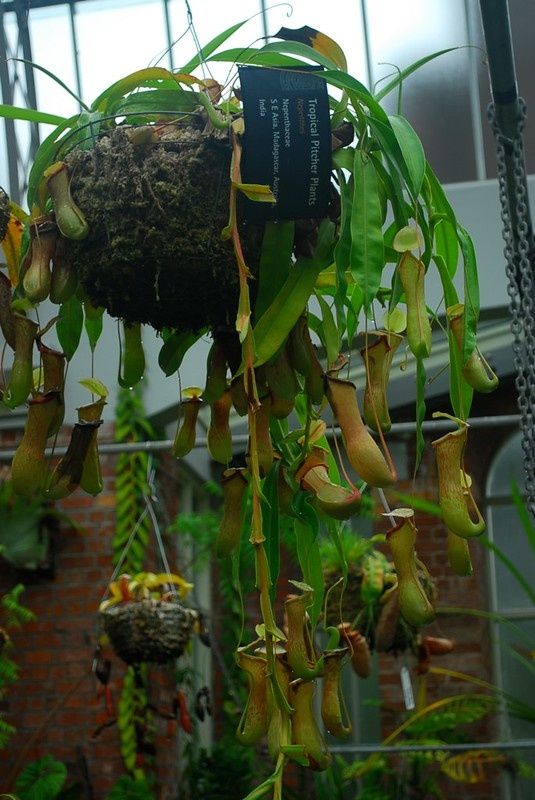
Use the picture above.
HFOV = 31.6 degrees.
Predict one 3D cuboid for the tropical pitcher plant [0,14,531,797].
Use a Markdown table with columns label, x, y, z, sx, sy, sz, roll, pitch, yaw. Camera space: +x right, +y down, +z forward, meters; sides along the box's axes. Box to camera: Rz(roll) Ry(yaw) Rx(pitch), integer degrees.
| label | x | y | z | sx | sy | sz | roll | pitch | yaw |
| --- | --- | --- | --- | --- | --- | --- | --- | --- | --- |
| tropical pitcher plant | 0.103 | -0.070 | 1.398 | 0.968 | 0.724 | 0.910 | -6 | 4 | -19 |
